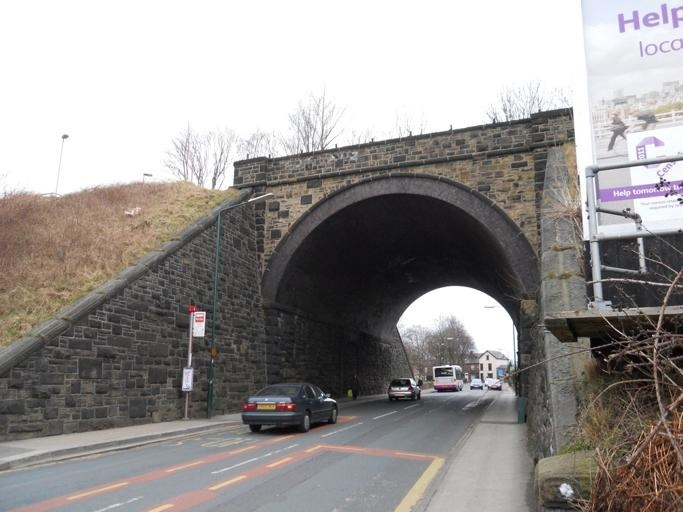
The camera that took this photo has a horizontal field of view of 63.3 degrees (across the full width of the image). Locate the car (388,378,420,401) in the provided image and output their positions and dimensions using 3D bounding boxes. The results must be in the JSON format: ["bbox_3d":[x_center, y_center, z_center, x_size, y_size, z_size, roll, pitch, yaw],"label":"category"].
[{"bbox_3d":[3.793,7.997,33.154,1.361,1.241,2.226,-5,-10,40],"label":"car"}]

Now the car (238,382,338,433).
[{"bbox_3d":[-1.356,4.627,17.251,1.298,1.094,3.161,-4,-11,22],"label":"car"}]

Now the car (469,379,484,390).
[{"bbox_3d":[15.851,15.106,65.262,1.280,1.141,2.828,-4,-22,7],"label":"car"}]
